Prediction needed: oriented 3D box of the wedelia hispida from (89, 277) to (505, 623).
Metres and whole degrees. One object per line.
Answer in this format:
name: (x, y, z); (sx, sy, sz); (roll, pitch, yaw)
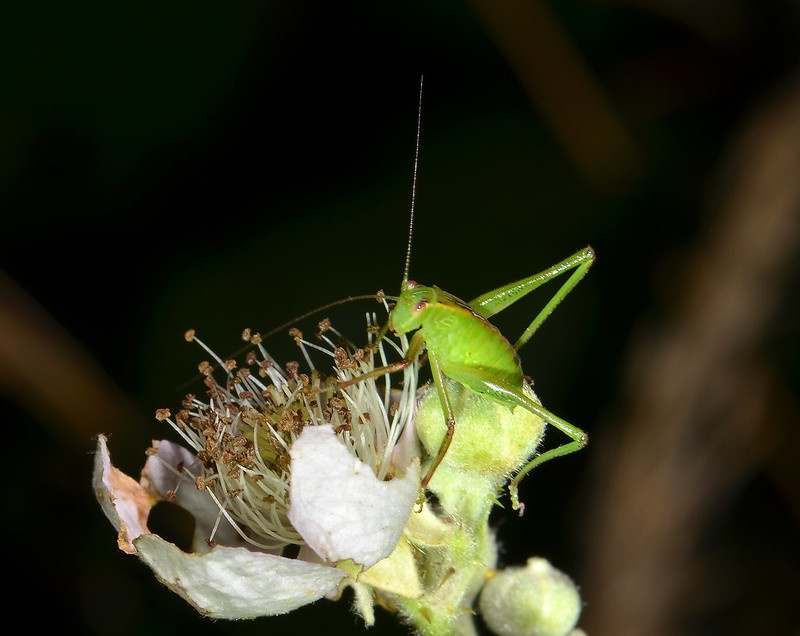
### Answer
wedelia hispida: (-0.293, 0.625, 2.843); (1.225, 1.166, 0.662); (-16, 10, 7)
